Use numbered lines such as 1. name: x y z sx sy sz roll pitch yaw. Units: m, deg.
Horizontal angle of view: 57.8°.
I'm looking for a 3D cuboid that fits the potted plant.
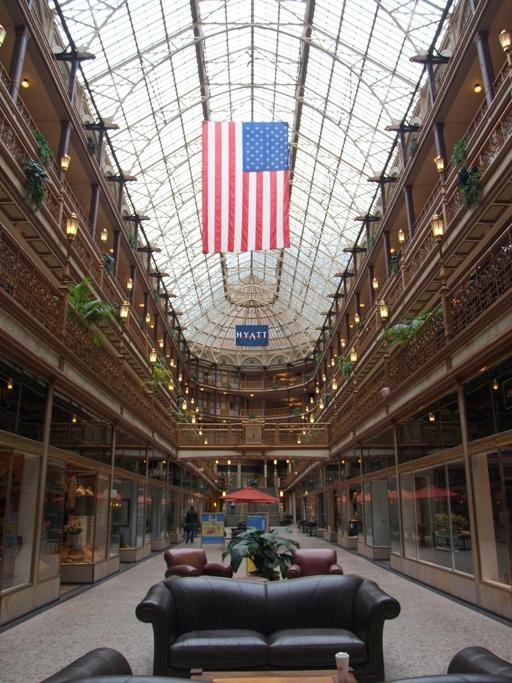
1. potted plant: 0.122 3.182 6.825 0.811 0.757 1.528 -9 -22 22
